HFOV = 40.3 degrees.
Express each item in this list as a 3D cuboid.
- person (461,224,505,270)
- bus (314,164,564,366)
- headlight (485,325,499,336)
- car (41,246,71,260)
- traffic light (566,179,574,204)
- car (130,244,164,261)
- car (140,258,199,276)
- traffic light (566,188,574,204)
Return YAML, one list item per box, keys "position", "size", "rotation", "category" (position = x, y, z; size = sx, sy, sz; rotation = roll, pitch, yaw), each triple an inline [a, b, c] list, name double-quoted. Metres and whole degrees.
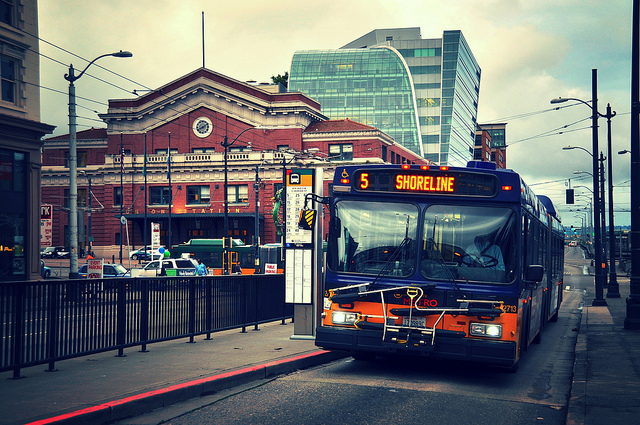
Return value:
- position: [3.976, 0.799, 20.834]
  size: [1.271, 1.419, 0.795]
  rotation: [-3, -11, 18]
  category: "person"
- position: [2.441, 1.135, 20.804]
  size: [4.585, 4.433, 1.731]
  rotation: [3, 6, 1]
  category: "bus"
- position: [3.983, 2.718, 20.246]
  size: [0.345, 0.248, 0.190]
  rotation: [-1, -1, 9]
  category: "headlight"
- position: [-22.905, 3.446, 75.009]
  size: [1.778, 0.871, 4.566]
  rotation: [0, 7, -28]
  category: "car"
- position: [14.178, -0.921, 49.555]
  size: [0.264, 0.872, 1.147]
  rotation: [5, 6, 24]
  category: "traffic light"
- position: [-12.470, 2.851, 62.543]
  size: [2.635, 1.293, 1.734]
  rotation: [5, 1, 10]
  category: "car"
- position: [-7.955, 2.806, 46.549]
  size: [2.388, 1.084, 1.708]
  rotation: [1, -4, 4]
  category: "car"
- position: [14.166, -0.921, 49.553]
  size: [0.250, 0.872, 0.977]
  rotation: [5, 7, 25]
  category: "traffic light"
